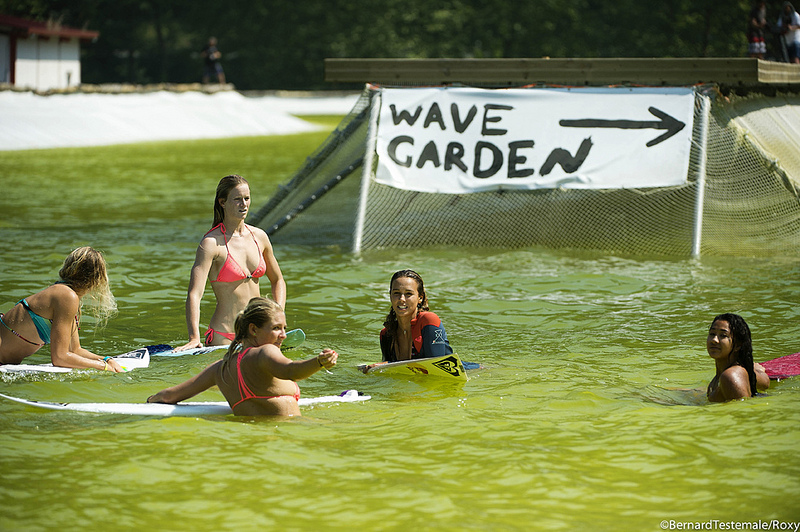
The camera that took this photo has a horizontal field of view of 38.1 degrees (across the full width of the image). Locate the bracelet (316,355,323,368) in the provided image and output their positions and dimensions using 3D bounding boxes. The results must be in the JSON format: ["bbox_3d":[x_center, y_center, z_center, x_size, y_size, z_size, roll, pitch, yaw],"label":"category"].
[{"bbox_3d":[-0.769,0.909,11.046,0.047,0.114,0.092,-4,5,-39],"label":"bracelet"}]

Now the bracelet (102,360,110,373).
[{"bbox_3d":[-3.189,1.064,12.538,0.078,0.094,0.037,-6,-6,42],"label":"bracelet"}]

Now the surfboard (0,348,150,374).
[{"bbox_3d":[-3.432,1.061,12.541,1.781,0.176,0.455,-4,9,-41],"label":"surfboard"}]

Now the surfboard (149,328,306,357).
[{"bbox_3d":[-1.828,0.826,12.408,1.295,0.177,0.139,-10,-18,4],"label":"surfboard"}]

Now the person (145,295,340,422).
[{"bbox_3d":[-1.547,0.877,11.660,1.455,1.658,1.099,-12,20,-25],"label":"person"}]

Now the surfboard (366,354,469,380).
[{"bbox_3d":[0.093,1.096,12.470,1.270,0.305,0.134,-3,12,28],"label":"surfboard"}]

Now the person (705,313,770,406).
[{"bbox_3d":[3.372,0.935,11.796,0.480,0.888,0.248,0,4,13],"label":"person"}]

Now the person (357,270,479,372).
[{"bbox_3d":[0.200,0.683,13.583,1.067,1.126,0.587,2,37,26],"label":"person"}]
